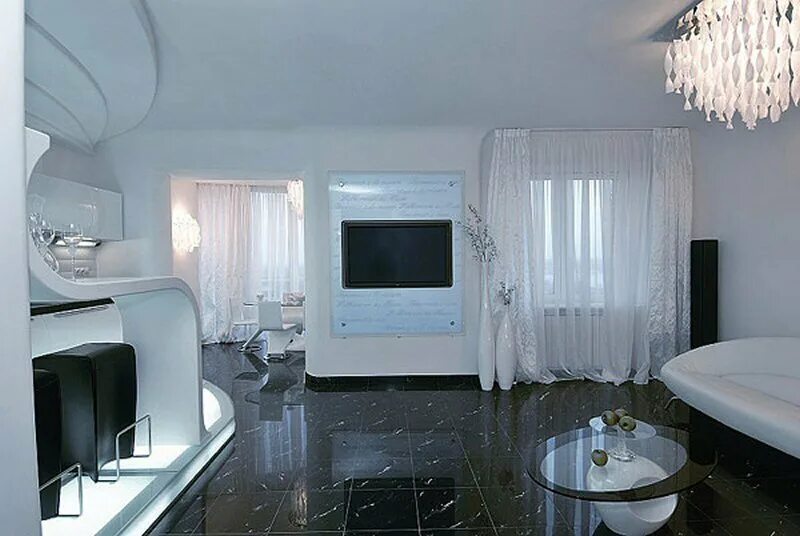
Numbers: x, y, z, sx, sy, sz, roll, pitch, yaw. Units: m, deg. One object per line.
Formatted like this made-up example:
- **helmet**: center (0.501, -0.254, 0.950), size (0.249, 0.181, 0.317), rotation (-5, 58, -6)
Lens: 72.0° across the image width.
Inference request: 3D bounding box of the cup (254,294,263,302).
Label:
- **cup**: center (-2.315, 0.496, 9.032), size (0.112, 0.096, 0.108), rotation (-1, 3, 0)

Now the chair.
- **chair**: center (-2.011, 0.876, 7.930), size (0.815, 1.108, 0.833), rotation (1, 2, 17)

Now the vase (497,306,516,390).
- **vase**: center (1.245, 0.943, 6.464), size (0.245, 0.868, 0.475), rotation (2, 13, 11)

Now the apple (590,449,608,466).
- **apple**: center (1.405, 1.357, 3.890), size (0.099, 0.069, 0.103), rotation (25, -48, -5)

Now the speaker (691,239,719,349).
- **speaker**: center (3.536, 0.310, 6.415), size (0.271, 1.250, 0.276), rotation (12, -10, -31)
